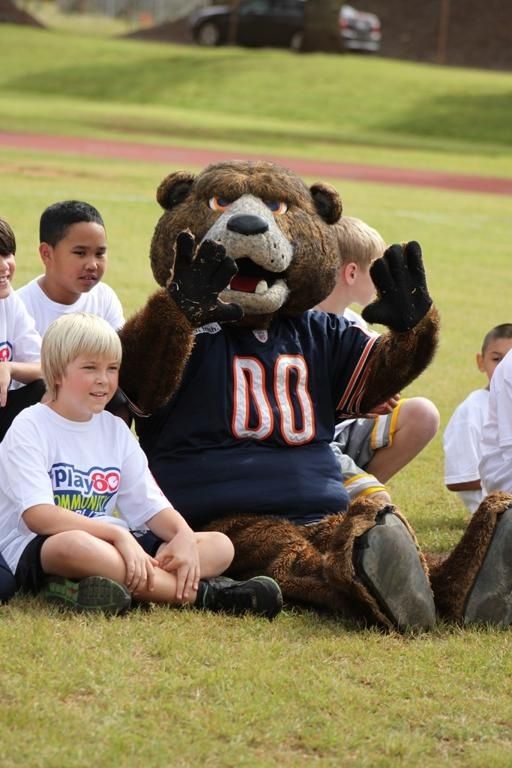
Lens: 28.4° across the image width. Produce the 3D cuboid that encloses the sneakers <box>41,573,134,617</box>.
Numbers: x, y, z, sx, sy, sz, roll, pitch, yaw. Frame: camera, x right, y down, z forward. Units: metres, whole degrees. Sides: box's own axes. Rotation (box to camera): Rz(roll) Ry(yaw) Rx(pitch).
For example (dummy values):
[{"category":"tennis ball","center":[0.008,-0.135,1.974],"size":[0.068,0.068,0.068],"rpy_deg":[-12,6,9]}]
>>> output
[{"category":"sneakers","center":[-0.451,0.571,2.776],"size":[0.290,0.074,0.110],"rpy_deg":[6,3,24]}]

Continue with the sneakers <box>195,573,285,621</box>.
[{"category":"sneakers","center":[-0.049,0.598,2.846],"size":[0.323,0.079,0.124],"rpy_deg":[-6,-16,9]}]
